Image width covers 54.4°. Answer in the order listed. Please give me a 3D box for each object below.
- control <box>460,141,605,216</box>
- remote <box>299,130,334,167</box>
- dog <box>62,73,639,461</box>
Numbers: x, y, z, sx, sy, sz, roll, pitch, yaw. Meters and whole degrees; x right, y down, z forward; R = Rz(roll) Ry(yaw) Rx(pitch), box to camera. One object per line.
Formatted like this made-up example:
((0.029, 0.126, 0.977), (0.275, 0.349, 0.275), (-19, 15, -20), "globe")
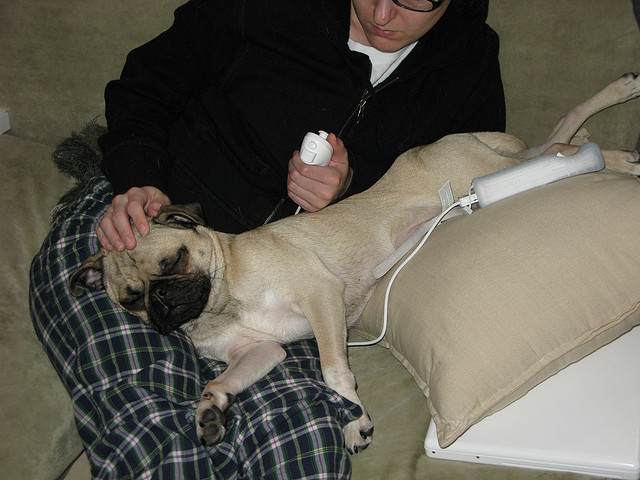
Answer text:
((1.113, -0.292, 3.239), (0.815, 0.218, 0.195), (-18, -9, 8), "control")
((-0.004, -0.478, 3.406), (0.164, 0.179, 0.182), (26, 9, 33), "remote")
((0.200, 0.192, 3.270), (2.532, 1.034, 0.861), (-35, -1, -7), "dog")
